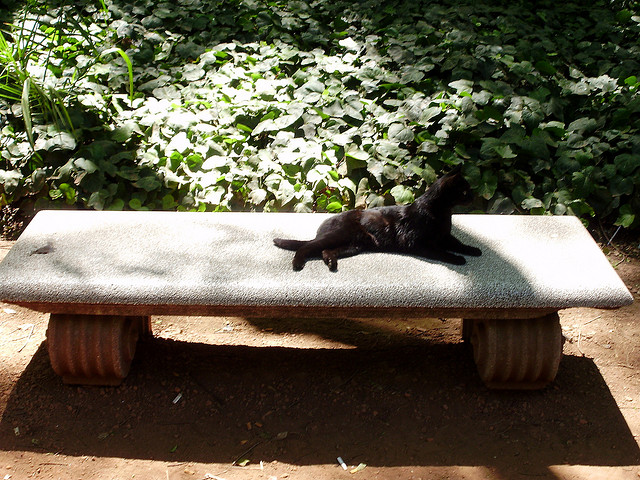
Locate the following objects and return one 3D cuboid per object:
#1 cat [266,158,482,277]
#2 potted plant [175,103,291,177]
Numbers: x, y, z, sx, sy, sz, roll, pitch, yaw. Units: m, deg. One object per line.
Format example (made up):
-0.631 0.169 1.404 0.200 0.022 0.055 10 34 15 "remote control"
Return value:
0.216 -0.141 3.490 1.834 0.870 1.080 -7 22 -19 "cat"
-0.834 -0.934 4.382 0.960 0.504 0.825 -3 34 -12 "potted plant"
